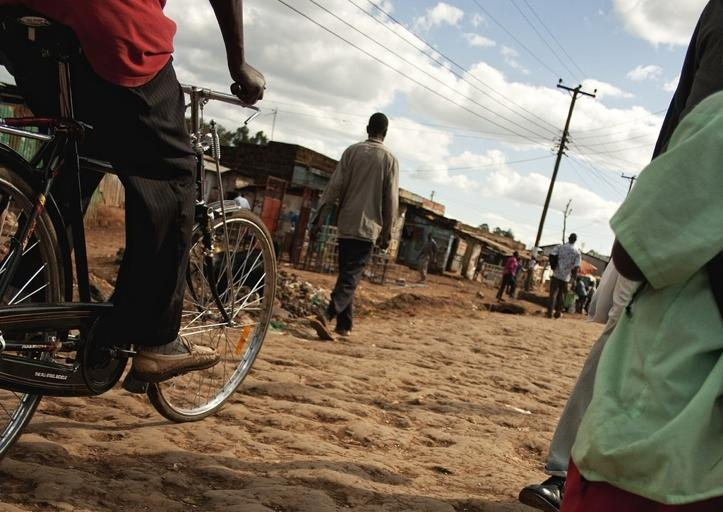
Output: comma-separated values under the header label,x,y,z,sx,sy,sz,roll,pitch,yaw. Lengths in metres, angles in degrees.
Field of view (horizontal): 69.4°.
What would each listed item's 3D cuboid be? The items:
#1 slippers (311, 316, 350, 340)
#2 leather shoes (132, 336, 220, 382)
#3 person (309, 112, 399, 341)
label,x,y,z,sx,sy,sz,roll,pitch,yaw
slippers,-0.403,0.880,6.263,0.207,0.218,0.549,0,-25,36
leather shoes,-0.959,0.526,2.760,0.193,0.174,0.546,13,8,33
person,-0.088,-0.334,6.211,0.944,2.728,0.737,14,1,-5
